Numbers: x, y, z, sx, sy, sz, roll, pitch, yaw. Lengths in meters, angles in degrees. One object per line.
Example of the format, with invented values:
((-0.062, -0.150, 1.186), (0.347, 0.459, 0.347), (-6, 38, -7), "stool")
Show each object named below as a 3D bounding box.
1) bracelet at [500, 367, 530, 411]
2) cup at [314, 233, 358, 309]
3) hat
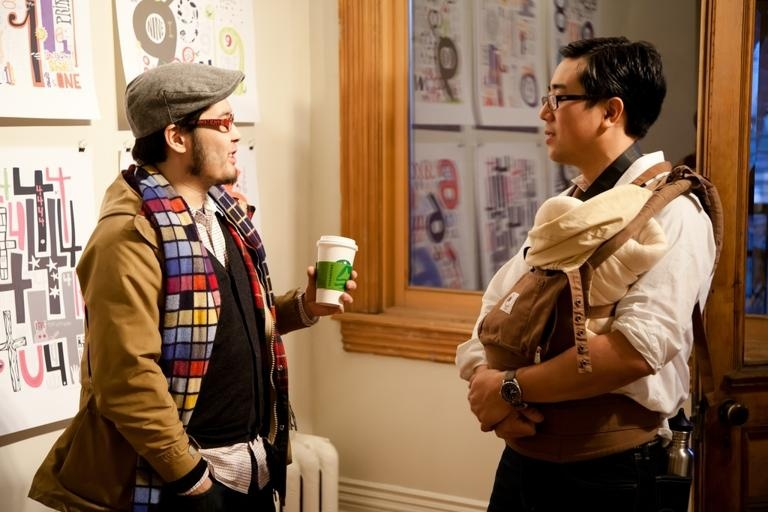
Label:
((0.371, 0.395, 1.767), (0.076, 0.120, 0.106), (-25, -6, 10), "bracelet")
((-0.167, 0.051, 1.991), (0.154, 0.217, 0.152), (8, -9, 1), "cup")
((-0.624, -0.521, 1.873), (0.377, 0.184, 0.304), (-19, 27, -13), "hat")
